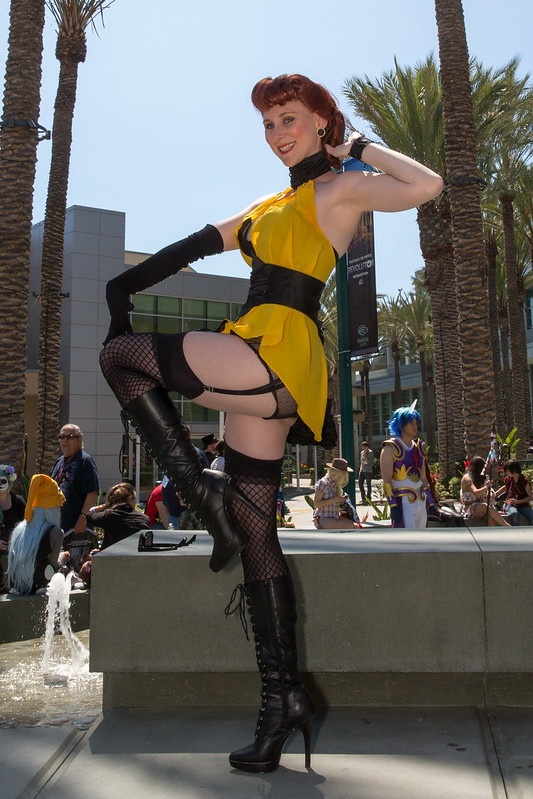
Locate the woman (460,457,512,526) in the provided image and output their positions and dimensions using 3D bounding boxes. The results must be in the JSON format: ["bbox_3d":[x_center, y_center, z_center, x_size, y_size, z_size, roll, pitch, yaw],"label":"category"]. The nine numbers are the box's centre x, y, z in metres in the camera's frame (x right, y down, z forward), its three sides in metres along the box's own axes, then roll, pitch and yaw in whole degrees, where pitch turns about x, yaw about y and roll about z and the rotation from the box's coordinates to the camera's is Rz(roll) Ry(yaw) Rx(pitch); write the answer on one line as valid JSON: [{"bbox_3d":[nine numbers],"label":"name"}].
[{"bbox_3d":[2.908,1.224,10.440,0.520,0.906,1.119,-4,-7,14],"label":"woman"}]

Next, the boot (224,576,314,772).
[{"bbox_3d":[0.009,0.752,2.136,0.224,0.501,0.192,-2,-7,1],"label":"boot"}]

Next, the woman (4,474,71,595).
[{"bbox_3d":[-1.785,1.029,5.981,0.432,0.882,0.509,0,-7,-18],"label":"woman"}]

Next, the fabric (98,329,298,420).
[{"bbox_3d":[-0.192,-0.085,2.202,0.491,0.205,0.249,5,3,7],"label":"fabric"}]

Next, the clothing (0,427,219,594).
[{"bbox_3d":[-1.255,0.983,6.719,2.023,1.802,0.718,14,-38,-26],"label":"clothing"}]

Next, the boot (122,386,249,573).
[{"bbox_3d":[-0.218,0.222,2.136,0.342,0.516,0.138,-1,-7,-12],"label":"boot"}]

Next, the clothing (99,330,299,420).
[{"bbox_3d":[-0.199,-0.080,2.178,0.479,0.166,0.253,4,-2,3],"label":"clothing"}]
